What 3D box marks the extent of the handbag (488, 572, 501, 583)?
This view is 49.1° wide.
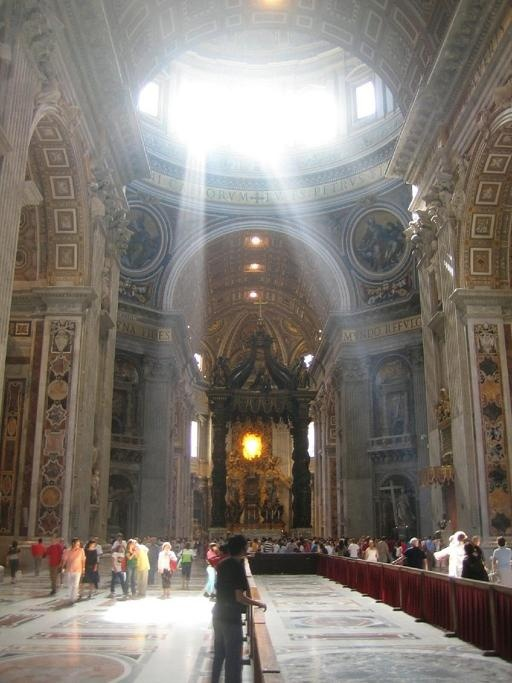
[{"bbox_3d":[3.062,3.041,7.215,0.127,0.146,0.486,-8,-18,19],"label":"handbag"}]

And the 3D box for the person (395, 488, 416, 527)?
[{"bbox_3d":[6.575,7.389,24.875,0.875,1.680,0.412,-4,-17,9],"label":"person"}]

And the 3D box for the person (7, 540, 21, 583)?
[{"bbox_3d":[-4.752,4.314,10.981,0.232,0.744,0.568,5,-18,-22],"label":"person"}]

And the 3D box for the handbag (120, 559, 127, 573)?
[{"bbox_3d":[-2.532,4.313,10.794,0.100,0.251,0.186,1,-17,-10],"label":"handbag"}]
